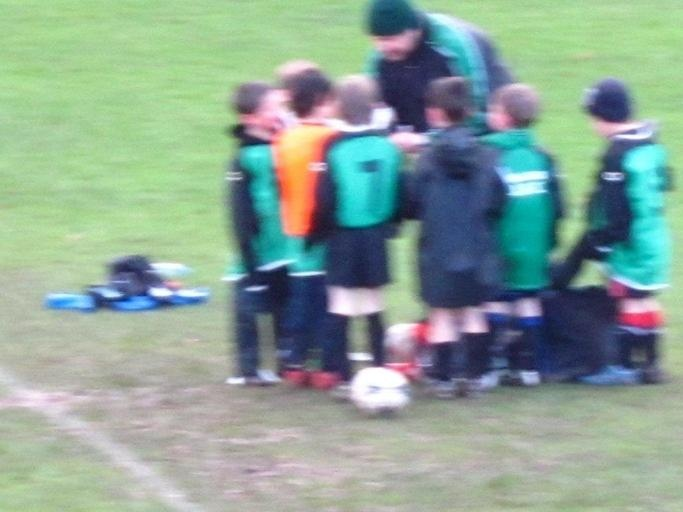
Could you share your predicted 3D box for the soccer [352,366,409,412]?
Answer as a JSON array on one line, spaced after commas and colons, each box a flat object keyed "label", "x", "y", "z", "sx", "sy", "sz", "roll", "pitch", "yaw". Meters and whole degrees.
[{"label": "soccer", "x": 0.246, "y": 0.898, "z": 12.846, "sx": 0.476, "sy": 0.183, "sz": 0.607, "roll": -2, "pitch": 20, "yaw": -4}]
